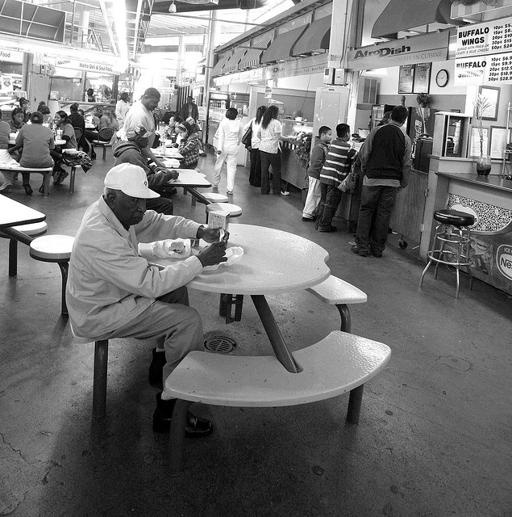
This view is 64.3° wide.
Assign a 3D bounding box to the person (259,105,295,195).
[{"bbox_3d":[0.344,-2.452,9.190,0.597,1.981,0.536,3,11,-1],"label":"person"}]

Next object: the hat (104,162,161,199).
[{"bbox_3d":[-0.524,-0.340,1.760,0.201,0.122,0.164,13,17,4],"label":"hat"}]

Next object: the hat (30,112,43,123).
[{"bbox_3d":[-3.903,-2.534,7.290,0.170,0.213,0.183,-6,15,-39],"label":"hat"}]

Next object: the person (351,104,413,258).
[{"bbox_3d":[1.683,-1.024,5.447,0.657,2.000,0.440,6,12,15],"label":"person"}]

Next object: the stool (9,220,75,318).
[{"bbox_3d":[-1.739,0.111,3.294,0.714,0.282,0.282,21,18,41],"label":"stool"}]

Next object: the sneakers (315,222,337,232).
[{"bbox_3d":[1.128,-0.519,6.645,0.342,0.163,0.119,-2,16,-13],"label":"sneakers"}]

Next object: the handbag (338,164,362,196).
[{"bbox_3d":[1.461,-1.270,6.371,0.197,0.504,0.412,38,-12,22],"label":"handbag"}]

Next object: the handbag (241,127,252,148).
[{"bbox_3d":[-0.209,-3.110,10.425,0.146,0.456,0.309,11,14,-3],"label":"handbag"}]

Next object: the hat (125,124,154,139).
[{"bbox_3d":[-1.319,-1.461,4.644,0.382,0.136,0.396,14,25,29],"label":"hat"}]

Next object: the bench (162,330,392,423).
[{"bbox_3d":[0.085,0.464,1.695,0.791,0.206,0.356,-9,42,-15],"label":"bench"}]

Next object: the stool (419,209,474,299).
[{"bbox_3d":[2.110,-0.083,4.437,0.452,0.871,0.452,-13,19,-43],"label":"stool"}]

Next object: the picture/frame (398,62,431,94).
[{"bbox_3d":[3.014,-3.436,7.699,0.060,0.645,0.853,-5,19,-21],"label":"picture/frame"}]

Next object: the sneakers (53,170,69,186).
[{"bbox_3d":[-4.133,-1.755,8.649,0.228,0.233,0.551,-24,4,-17],"label":"sneakers"}]

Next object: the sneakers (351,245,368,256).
[{"bbox_3d":[1.424,-0.110,5.603,0.088,0.112,0.234,-5,14,-21],"label":"sneakers"}]

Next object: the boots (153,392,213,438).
[{"bbox_3d":[-0.299,0.707,1.966,0.347,0.276,0.134,2,19,-7],"label":"boots"}]
